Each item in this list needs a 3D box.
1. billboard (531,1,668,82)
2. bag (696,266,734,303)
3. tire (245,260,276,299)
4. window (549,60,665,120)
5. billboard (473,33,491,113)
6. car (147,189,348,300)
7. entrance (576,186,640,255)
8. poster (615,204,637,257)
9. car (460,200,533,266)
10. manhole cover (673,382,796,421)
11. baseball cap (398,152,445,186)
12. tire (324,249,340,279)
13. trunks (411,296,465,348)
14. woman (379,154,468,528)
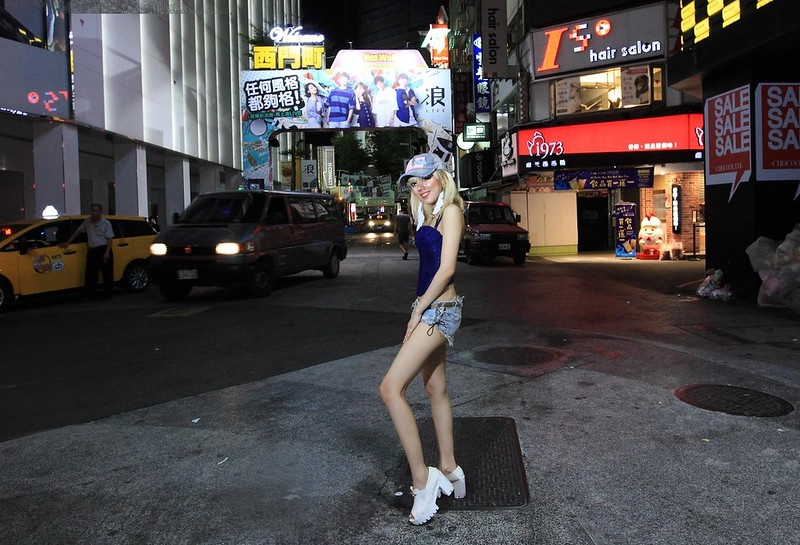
[{"bbox_3d":[8.981,-10.267,22.445,7.025,3.129,0.752,-3,-1,33],"label":"billboard"},{"bbox_3d":[7.038,0.256,11.492,0.635,0.669,0.547,-3,5,-14],"label":"bag"},{"bbox_3d":[-3.521,0.108,12.937,0.953,1.013,0.344,-4,15,2],"label":"tire"},{"bbox_3d":[9.338,-8.351,23.514,4.937,1.887,0.841,-8,13,-4],"label":"window"},{"bbox_3d":[4.719,-11.943,30.890,1.158,4.583,0.876,-12,16,-21],"label":"billboard"},{"bbox_3d":[-3.897,-0.964,14.641,2.667,2.796,6.109,2,8,27],"label":"car"},{"bbox_3d":[10.779,-2.717,25.926,0.312,4.071,3.863,-18,17,-31],"label":"entrance"},{"bbox_3d":[9.399,-1.789,21.229,0.830,2.279,0.237,-1,20,25],"label":"poster"},{"bbox_3d":[3.801,-1.625,20.621,2.307,2.503,2.290,-2,7,-3],"label":"car"},{"bbox_3d":[3.569,1.362,5.511,1.107,0.025,0.886,-1,8,4],"label":"manhole cover"},{"bbox_3d":[0.160,-0.769,3.741,0.201,0.144,0.307,-25,-7,38],"label":"baseball cap"},{"bbox_3d":[-2.205,-0.333,16.402,0.275,0.910,0.890,1,5,27],"label":"tire"},{"bbox_3d":[0.270,0.337,3.868,0.315,0.337,0.450,-12,3,45],"label":"trunks"},{"bbox_3d":[0.206,0.449,3.812,0.525,2.666,0.735,2,8,25],"label":"woman"}]
